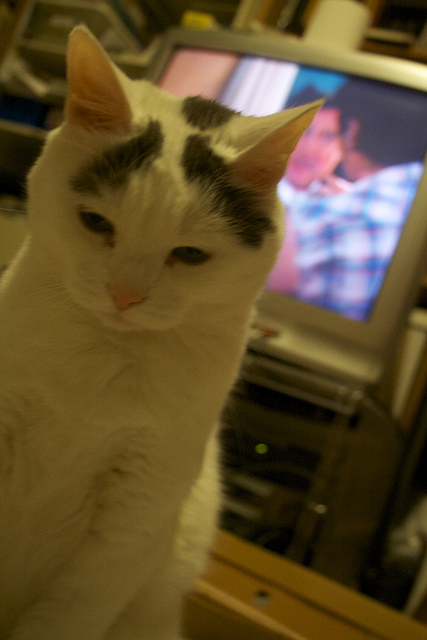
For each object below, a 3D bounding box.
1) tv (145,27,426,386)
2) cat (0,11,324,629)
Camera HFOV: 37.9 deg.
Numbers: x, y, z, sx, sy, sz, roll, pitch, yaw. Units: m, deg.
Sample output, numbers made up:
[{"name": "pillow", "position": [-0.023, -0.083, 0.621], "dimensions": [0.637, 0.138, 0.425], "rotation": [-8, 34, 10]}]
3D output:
[{"name": "tv", "position": [0.085, -0.105, 0.664], "dimensions": [0.334, 0.332, 0.184], "rotation": [20, -19, 12]}, {"name": "cat", "position": [-0.085, 0.025, 0.670], "dimensions": [0.290, 0.609, 0.370], "rotation": [12, 25, 11]}]
